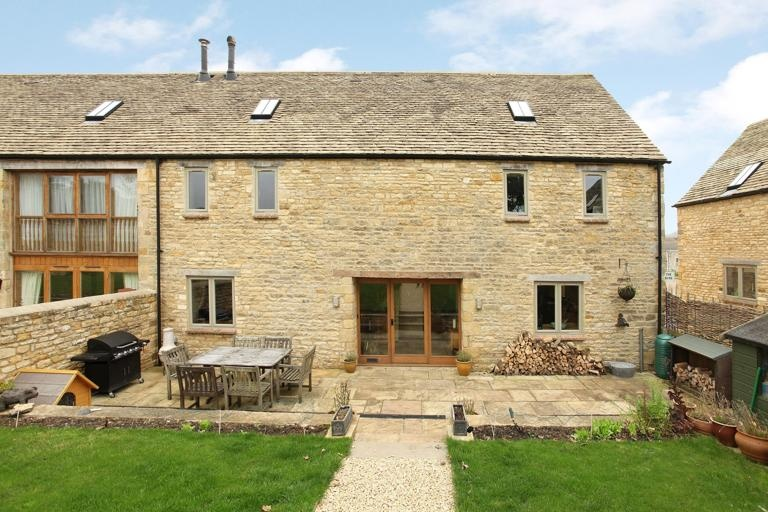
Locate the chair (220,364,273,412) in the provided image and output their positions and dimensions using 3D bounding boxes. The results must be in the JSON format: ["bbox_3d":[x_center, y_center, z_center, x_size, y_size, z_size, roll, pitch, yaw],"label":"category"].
[{"bbox_3d":[-3.791,3.626,17.718,1.478,1.663,1.291,0,4,1],"label":"chair"}]

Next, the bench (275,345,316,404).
[{"bbox_3d":[-2.755,3.425,18.536,1.497,1.733,1.652,0,-2,4],"label":"bench"}]

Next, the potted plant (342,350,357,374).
[{"bbox_3d":[-1.054,3.377,19.837,0.625,0.644,0.576,0,-5,-1],"label":"potted plant"}]

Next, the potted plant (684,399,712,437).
[{"bbox_3d":[8.245,4.228,16.270,0.735,0.440,0.687,0,0,30],"label":"potted plant"}]

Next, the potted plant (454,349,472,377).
[{"bbox_3d":[2.588,3.358,19.665,0.551,0.798,0.361,2,-5,-16],"label":"potted plant"}]

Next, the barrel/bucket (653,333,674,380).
[{"bbox_3d":[8.740,3.109,19.390,0.357,1.331,0.638,3,-5,-23],"label":"barrel/bucket"}]

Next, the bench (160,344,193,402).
[{"bbox_3d":[-5.904,3.379,17.843,0.702,1.117,1.590,0,4,-5],"label":"bench"}]

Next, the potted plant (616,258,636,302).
[{"bbox_3d":[7.713,0.760,19.874,0.516,1.361,0.473,-1,-5,19],"label":"potted plant"}]

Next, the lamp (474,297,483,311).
[{"bbox_3d":[3.058,1.510,19.980,0.216,0.407,0.071,1,-5,7],"label":"lamp"}]
